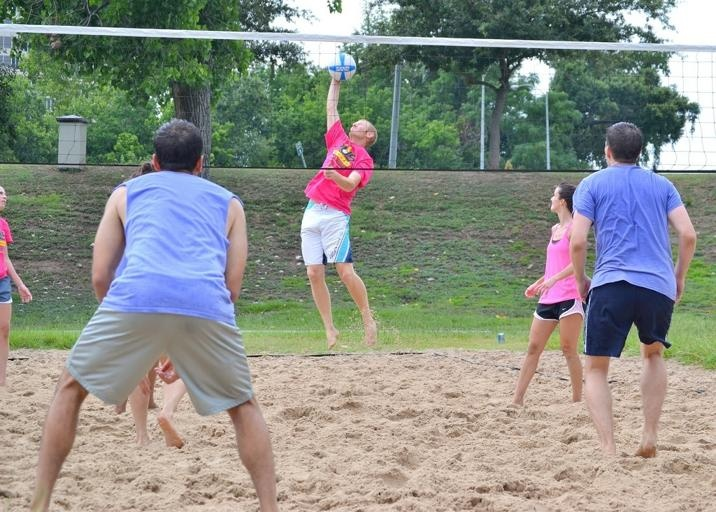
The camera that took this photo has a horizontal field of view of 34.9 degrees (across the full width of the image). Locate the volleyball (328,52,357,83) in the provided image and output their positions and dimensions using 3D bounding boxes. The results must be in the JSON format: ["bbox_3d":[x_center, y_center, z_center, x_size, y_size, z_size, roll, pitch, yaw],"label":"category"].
[{"bbox_3d":[-0.199,-2.431,14.697,0.325,0.344,0.333,1,0,-2],"label":"volleyball"}]

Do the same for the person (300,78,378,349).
[{"bbox_3d":[-0.242,-0.452,14.750,0.955,3.654,1.091,0,13,-2],"label":"person"}]

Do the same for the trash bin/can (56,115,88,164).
[{"bbox_3d":[-5.379,-2.153,21.513,0.630,0.875,0.681,0,4,-26],"label":"trash bin/can"}]

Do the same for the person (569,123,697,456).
[{"bbox_3d":[2.959,0.378,12.506,1.276,3.538,0.995,3,13,11],"label":"person"}]
